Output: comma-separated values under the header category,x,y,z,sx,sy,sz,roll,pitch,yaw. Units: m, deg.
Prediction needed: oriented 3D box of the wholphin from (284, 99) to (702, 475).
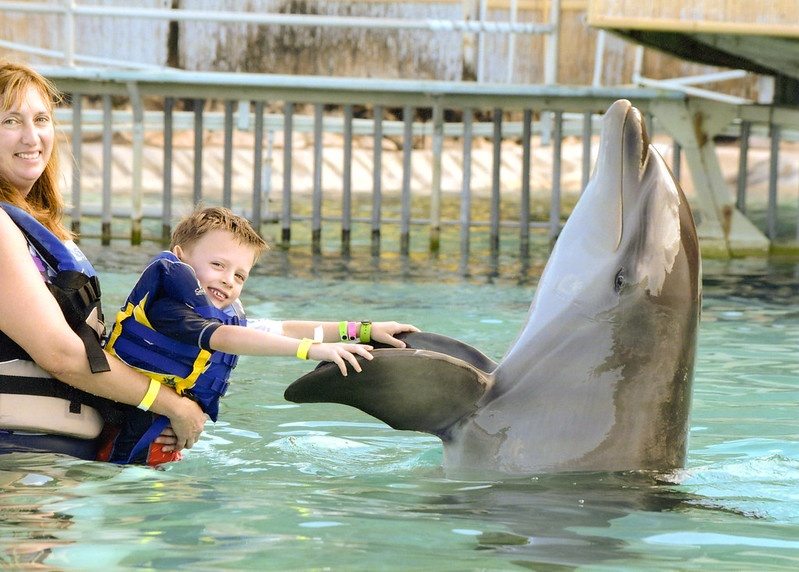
category,x,y,z,sx,sy,sz,roll,pitch,yaw
wholphin,0.524,0.071,5.162,1.633,1.494,1.150,15,28,33

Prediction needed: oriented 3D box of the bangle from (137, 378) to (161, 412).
category,x,y,z,sx,sy,sz,roll,pitch,yaw
bangle,-1.041,0.454,5.334,0.031,0.116,0.125,38,-36,-12

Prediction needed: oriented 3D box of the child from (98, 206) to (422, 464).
category,x,y,z,sx,sy,sz,roll,pitch,yaw
child,-0.756,0.452,5.579,1.412,1.475,0.732,14,20,12
